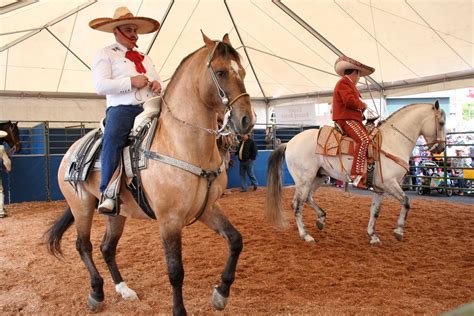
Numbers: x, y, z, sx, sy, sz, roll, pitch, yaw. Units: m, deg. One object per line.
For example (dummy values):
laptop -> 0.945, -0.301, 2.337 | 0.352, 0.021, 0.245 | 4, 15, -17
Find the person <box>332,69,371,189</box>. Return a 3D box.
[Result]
person -> 2.696, -0.624, 9.078 | 0.831, 2.633, 0.406 | 1, 5, 18

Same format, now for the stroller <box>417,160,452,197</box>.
stroller -> 7.262, 0.752, 14.247 | 0.933, 1.607, 1.462 | 2, -3, -30

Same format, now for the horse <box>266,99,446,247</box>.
horse -> 2.793, 0.341, 9.336 | 4.132, 3.363, 1.004 | 0, 5, 9

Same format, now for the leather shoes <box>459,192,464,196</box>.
leather shoes -> 8.185, 1.335, 13.952 | 0.085, 0.111, 0.264 | -6, -11, 33
